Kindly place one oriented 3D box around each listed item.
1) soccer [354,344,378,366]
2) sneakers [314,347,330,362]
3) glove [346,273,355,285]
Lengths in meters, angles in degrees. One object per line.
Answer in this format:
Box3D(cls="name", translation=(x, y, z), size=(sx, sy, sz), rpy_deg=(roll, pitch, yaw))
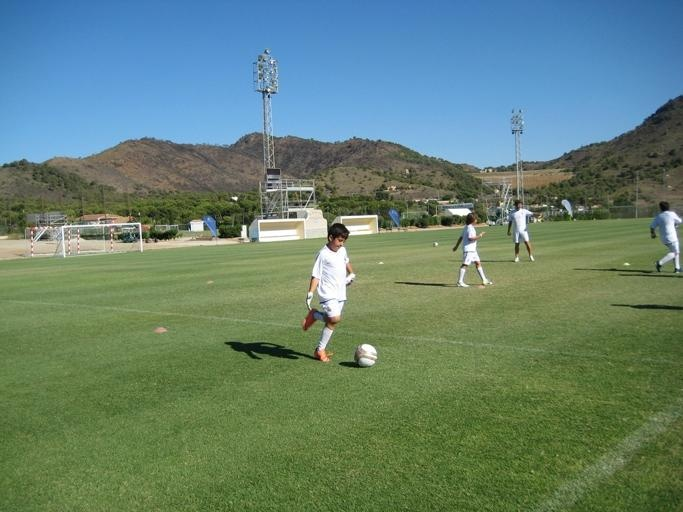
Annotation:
Box3D(cls="soccer", translation=(0.354, 1.324, 6.387), size=(0.274, 0.279, 0.272), rpy_deg=(15, 20, -22))
Box3D(cls="sneakers", translation=(-0.288, 1.408, 6.734), size=(0.217, 0.163, 0.133), rpy_deg=(-2, -3, 35))
Box3D(cls="glove", translation=(0.098, 0.339, 6.835), size=(0.123, 0.057, 0.173), rpy_deg=(-1, -40, -48))
